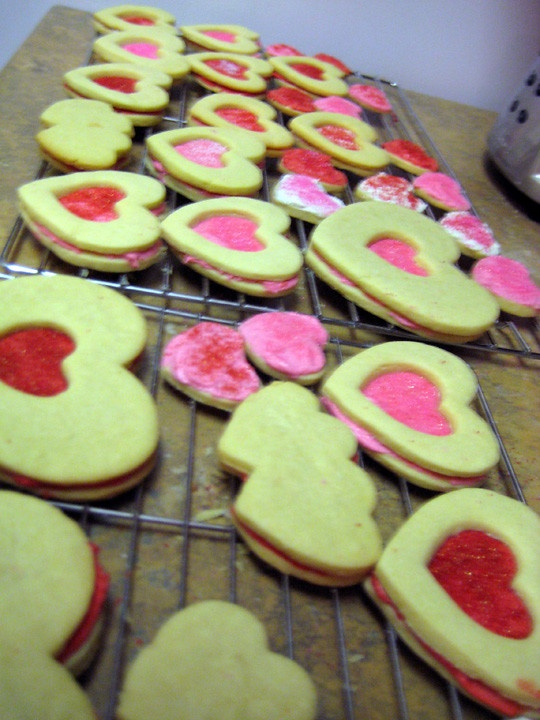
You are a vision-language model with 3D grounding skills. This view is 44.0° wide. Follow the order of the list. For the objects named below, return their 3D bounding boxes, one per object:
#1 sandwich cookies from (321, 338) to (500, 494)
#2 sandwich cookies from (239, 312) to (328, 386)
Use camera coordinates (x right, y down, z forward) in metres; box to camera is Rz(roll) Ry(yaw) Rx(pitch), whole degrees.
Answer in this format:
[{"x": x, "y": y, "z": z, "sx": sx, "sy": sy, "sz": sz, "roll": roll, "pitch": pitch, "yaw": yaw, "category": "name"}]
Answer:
[{"x": 0.187, "y": 0.076, "z": 0.889, "sx": 0.232, "sy": 0.047, "sz": 0.202, "roll": 10, "pitch": 35, "yaw": -5, "category": "sandwich cookies"}, {"x": 0.008, "y": -0.006, "z": 0.958, "sx": 0.124, "sy": 0.026, "sz": 0.112, "roll": 17, "pitch": 35, "yaw": 1, "category": "sandwich cookies"}]
